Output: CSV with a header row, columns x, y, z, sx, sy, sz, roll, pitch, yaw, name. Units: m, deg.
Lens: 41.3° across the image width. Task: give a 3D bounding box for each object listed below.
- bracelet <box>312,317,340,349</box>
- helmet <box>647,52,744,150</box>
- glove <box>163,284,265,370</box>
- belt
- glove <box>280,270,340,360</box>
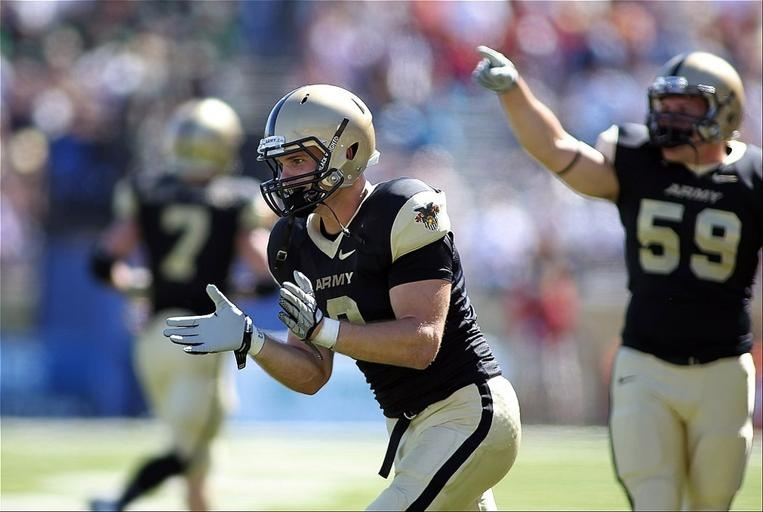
x,y,z,sx,sy,sz,roll,pitch,yaw,name
-0.250,0.354,4.664,0.114,0.119,0.141,21,-5,-6,bracelet
1.746,-0.883,5.582,0.469,0.474,0.623,11,18,39,helmet
-0.972,0.392,5.642,0.586,0.433,0.177,-8,10,-21,glove
0.069,0.885,4.860,0.094,0.336,0.259,15,-14,-14,belt
-0.340,0.280,4.654,0.221,0.152,0.410,-42,39,-15,glove
